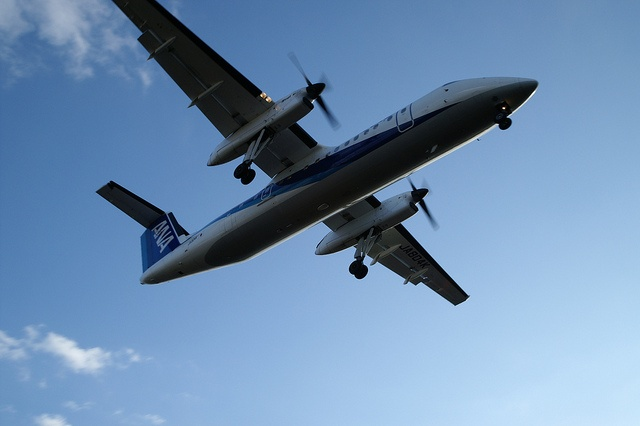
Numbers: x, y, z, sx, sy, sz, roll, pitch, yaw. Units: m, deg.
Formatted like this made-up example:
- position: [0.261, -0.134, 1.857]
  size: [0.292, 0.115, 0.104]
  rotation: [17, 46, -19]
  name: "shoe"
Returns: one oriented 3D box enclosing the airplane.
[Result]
- position: [-1.432, -1.564, 27.545]
  size: [17.846, 6.159, 12.804]
  rotation: [10, -45, 2]
  name: "airplane"
